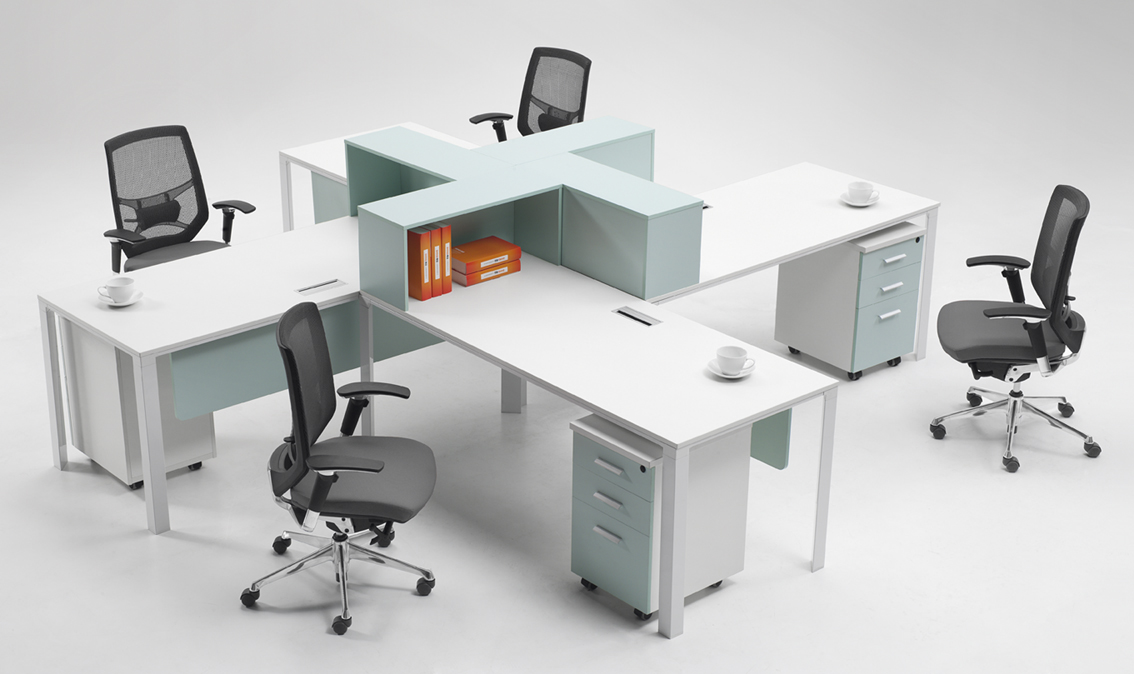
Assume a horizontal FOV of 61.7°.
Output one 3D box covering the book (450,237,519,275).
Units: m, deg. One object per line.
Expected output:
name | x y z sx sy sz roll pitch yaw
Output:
book | -0.528 -0.510 5.851 0.352 0.069 0.237 -13 22 -36

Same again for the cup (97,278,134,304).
cup | -2.638 -0.279 5.569 0.207 0.109 0.158 -9 23 -30

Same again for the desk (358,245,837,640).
desk | 0.464 0.477 5.512 1.056 0.880 2.100 -22 26 -22

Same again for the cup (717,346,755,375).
cup | 0.902 0.124 5.033 0.179 0.080 0.139 -9 18 -33

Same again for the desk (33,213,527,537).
desk | -1.676 0.273 5.661 1.986 0.834 0.903 -18 36 -32

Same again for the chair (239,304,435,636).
chair | -1.291 0.760 5.252 1.170 1.546 1.171 7 28 4

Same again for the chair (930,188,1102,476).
chair | 2.905 -0.072 6.029 1.016 1.715 0.875 9 23 25
